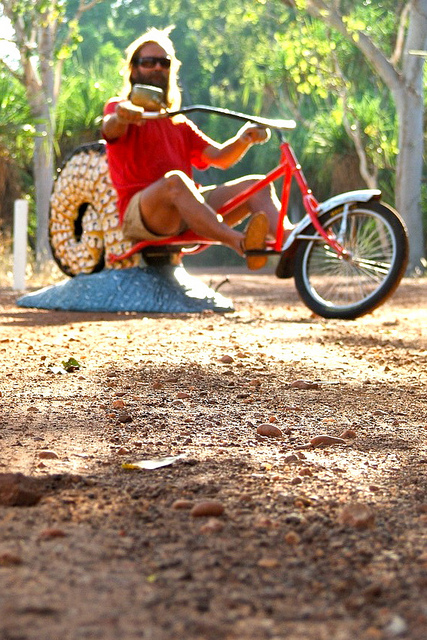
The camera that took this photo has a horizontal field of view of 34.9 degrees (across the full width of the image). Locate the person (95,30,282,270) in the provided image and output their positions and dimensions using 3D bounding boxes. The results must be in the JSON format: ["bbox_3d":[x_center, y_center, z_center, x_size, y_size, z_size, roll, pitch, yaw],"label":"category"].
[{"bbox_3d":[-0.151,-1.076,4.127,1.012,1.436,1.045,-1,11,-3],"label":"person"}]

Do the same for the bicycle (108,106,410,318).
[{"bbox_3d":[0.156,-0.697,4.486,2.362,1.214,1.216,5,4,38],"label":"bicycle"}]
